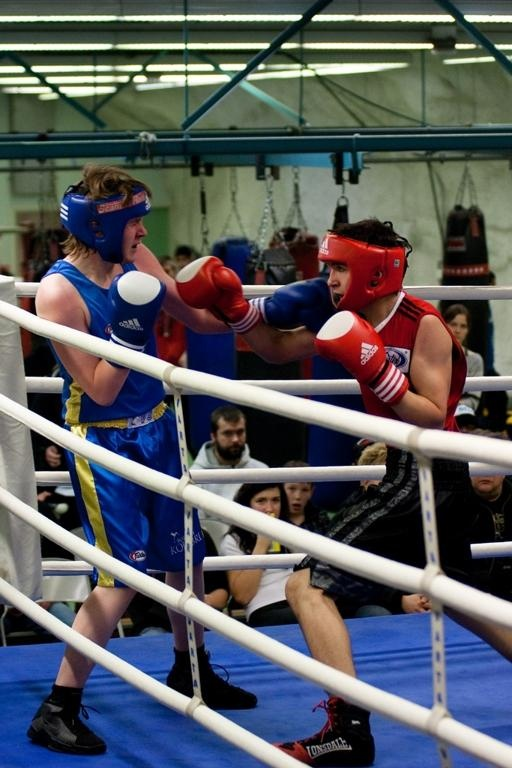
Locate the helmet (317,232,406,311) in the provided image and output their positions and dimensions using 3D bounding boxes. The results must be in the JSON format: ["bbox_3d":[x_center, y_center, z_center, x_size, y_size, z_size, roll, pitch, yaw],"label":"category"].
[{"bbox_3d":[0.188,-0.204,1.428,0.162,0.124,0.122,-2,17,-11],"label":"helmet"}]

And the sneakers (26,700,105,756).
[{"bbox_3d":[-0.334,0.593,1.426,0.163,0.100,0.058,-1,-17,34],"label":"sneakers"}]

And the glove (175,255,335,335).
[{"bbox_3d":[0.002,-0.170,1.651,0.312,0.099,0.154,6,-12,-31],"label":"glove"}]

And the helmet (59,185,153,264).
[{"bbox_3d":[-0.265,-0.313,1.545,0.174,0.125,0.133,-2,14,2],"label":"helmet"}]

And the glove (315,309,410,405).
[{"bbox_3d":[0.166,-0.028,1.265,0.159,0.063,0.111,34,32,-11],"label":"glove"}]
